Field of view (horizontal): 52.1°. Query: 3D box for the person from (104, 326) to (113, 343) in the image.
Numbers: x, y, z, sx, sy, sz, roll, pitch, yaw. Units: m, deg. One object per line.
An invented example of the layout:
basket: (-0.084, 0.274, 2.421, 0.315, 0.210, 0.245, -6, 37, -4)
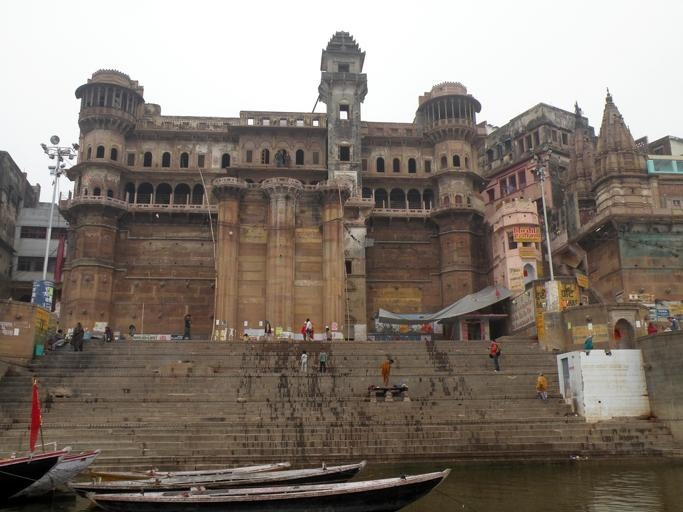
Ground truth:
person: (-11.930, 3.997, 35.705, 0.485, 0.958, 0.633, 0, -50, -15)

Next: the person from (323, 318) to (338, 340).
person: (-0.494, 4.235, 40.364, 0.929, 1.013, 0.939, 3, -6, -18)

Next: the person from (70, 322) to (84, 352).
person: (-12.289, 3.681, 32.562, 0.509, 1.510, 1.591, 4, -17, -21)

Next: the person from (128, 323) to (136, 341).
person: (-12.501, 4.516, 41.630, 0.577, 0.975, 0.553, 3, -54, -14)

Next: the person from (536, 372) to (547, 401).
person: (7.945, 5.142, 27.529, 0.431, 1.032, 1.202, -7, -16, 15)
